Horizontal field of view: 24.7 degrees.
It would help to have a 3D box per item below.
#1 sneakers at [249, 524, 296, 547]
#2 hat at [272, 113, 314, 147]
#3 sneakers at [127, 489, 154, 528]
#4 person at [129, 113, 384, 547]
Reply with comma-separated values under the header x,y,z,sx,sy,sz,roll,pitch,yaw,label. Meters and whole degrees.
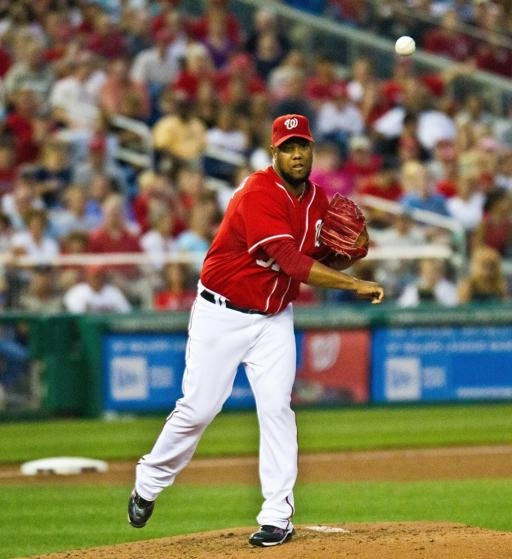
x,y,z,sx,sy,sz,roll,pitch,yaw,label
0.082,1.383,6.267,0.254,0.087,0.087,-1,0,-28,sneakers
0.189,-0.805,6.337,0.173,0.113,0.219,-2,0,-6,hat
-0.646,1.307,6.544,0.116,0.240,0.098,-19,-37,33,sneakers
0.022,0.274,6.401,1.275,2.330,0.499,-1,-3,28,person
